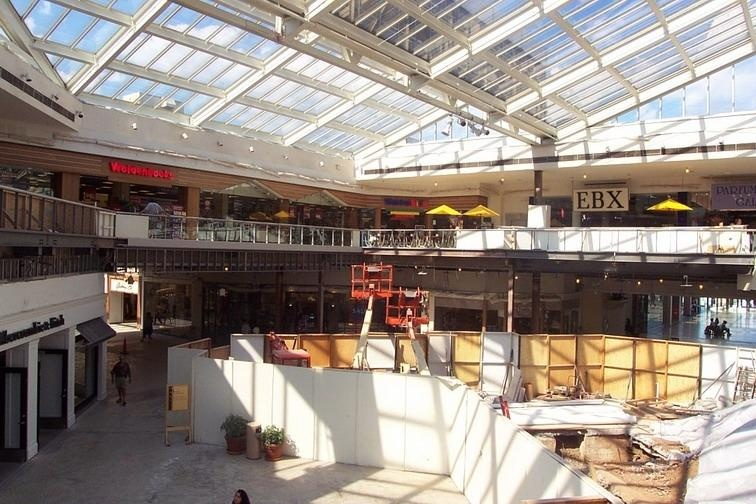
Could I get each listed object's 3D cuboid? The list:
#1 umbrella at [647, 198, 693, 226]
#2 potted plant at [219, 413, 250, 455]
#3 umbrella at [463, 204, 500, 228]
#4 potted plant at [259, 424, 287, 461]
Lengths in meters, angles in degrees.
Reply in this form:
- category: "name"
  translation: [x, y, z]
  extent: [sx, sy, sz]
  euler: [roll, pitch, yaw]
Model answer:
- category: "umbrella"
  translation: [20.273, -2.820, 42.457]
  extent: [2.270, 1.003, 2.103]
  euler: [1, 2, -21]
- category: "potted plant"
  translation: [-5.517, 7.501, 25.344]
  extent: [1.385, 1.606, 1.611]
  euler: [8, -12, -43]
- category: "umbrella"
  translation: [7.830, -2.655, 47.098]
  extent: [2.376, 1.598, 2.275]
  euler: [1, -7, 2]
- category: "potted plant"
  translation: [-4.280, 7.816, 25.235]
  extent: [1.371, 1.401, 1.173]
  euler: [-1, -6, 5]
